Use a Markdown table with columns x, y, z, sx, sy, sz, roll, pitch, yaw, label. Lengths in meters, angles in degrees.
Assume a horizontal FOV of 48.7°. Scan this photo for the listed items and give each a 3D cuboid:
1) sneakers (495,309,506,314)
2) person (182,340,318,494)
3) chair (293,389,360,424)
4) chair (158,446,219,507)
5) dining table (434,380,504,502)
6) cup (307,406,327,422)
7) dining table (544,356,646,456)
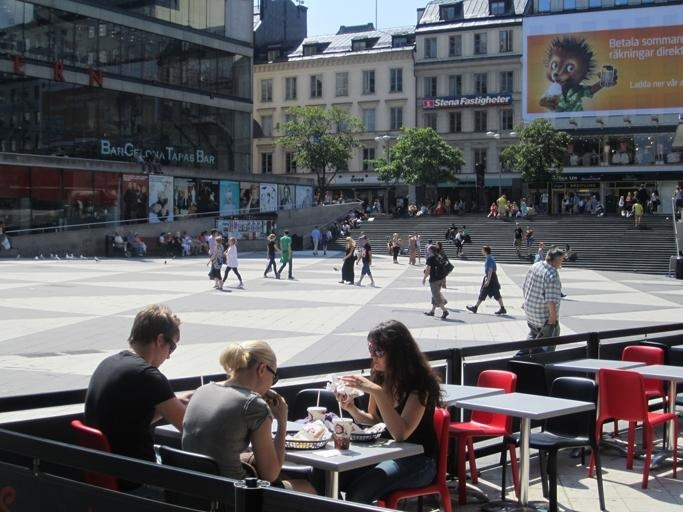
| x | y | z | sx | sy | sz | roll | pitch | yaw | label |
| --- | --- | --- | --- | --- | --- | --- | --- | --- | --- |
| 4.052 | 1.350 | 19.237 | 0.258 | 0.145 | 0.443 | 1 | 4 | 10 | sneakers |
| -0.802 | 1.328 | 6.121 | 0.950 | 1.277 | 0.530 | -2 | 4 | -21 | person |
| -0.227 | 1.512 | 7.944 | 0.392 | 0.482 | 0.369 | -7 | -3 | 23 | chair |
| -1.082 | 1.578 | 5.423 | 0.366 | 0.573 | 0.319 | 4 | 8 | 31 | chair |
| 1.208 | 1.878 | 8.068 | 0.687 | 0.934 | 0.908 | 2 | -4 | -23 | dining table |
| -0.211 | 1.432 | 6.982 | 0.121 | 0.099 | 0.146 | 2 | 0 | 16 | cup |
| 2.927 | 1.734 | 8.728 | 0.950 | 0.666 | 0.970 | 1 | -4 | -30 | dining table |
